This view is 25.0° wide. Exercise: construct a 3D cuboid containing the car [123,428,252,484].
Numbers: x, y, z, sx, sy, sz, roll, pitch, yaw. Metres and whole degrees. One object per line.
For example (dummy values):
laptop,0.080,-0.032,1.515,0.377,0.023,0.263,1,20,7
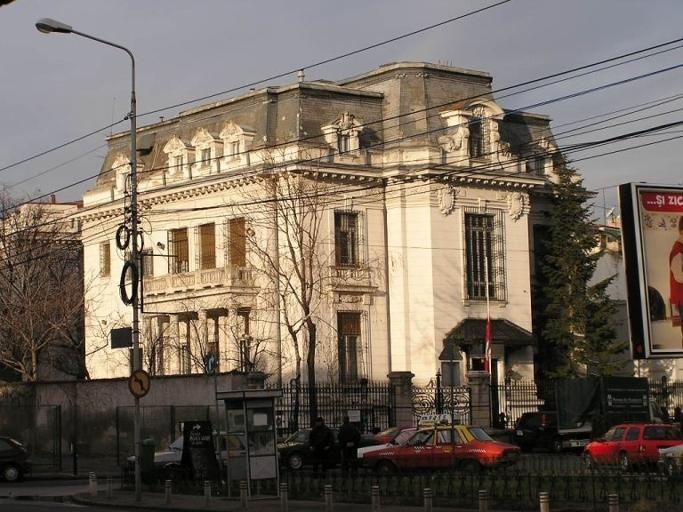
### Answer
car,-6.391,7.699,61.107,4.286,2.136,2.420,7,-13,-31
